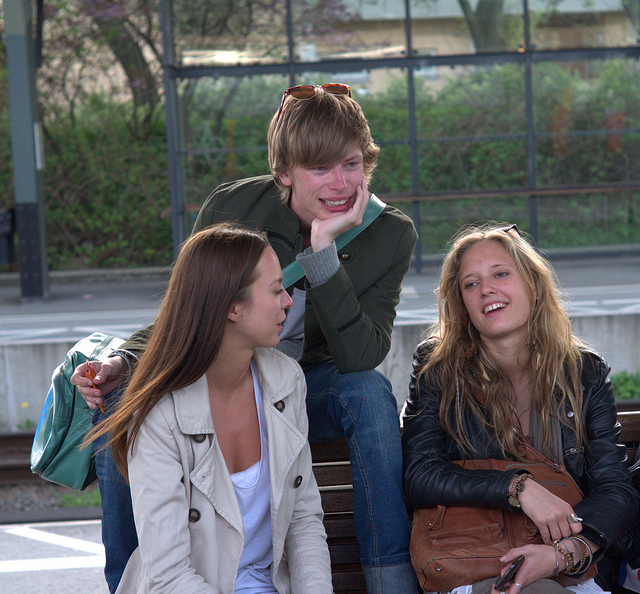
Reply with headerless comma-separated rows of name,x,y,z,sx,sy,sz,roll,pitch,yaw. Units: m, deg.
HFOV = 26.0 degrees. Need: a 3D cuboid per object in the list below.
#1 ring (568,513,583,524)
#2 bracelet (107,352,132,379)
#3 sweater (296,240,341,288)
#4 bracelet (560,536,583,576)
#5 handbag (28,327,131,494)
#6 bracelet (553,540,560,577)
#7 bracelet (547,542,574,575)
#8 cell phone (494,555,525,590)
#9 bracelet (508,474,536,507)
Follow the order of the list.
ring,1.236,1.082,6.739,0.056,0.039,0.043,4,22,-3
bracelet,-0.994,0.341,6.904,0.059,0.092,0.154,-3,1,-40
sweater,-0.012,-0.146,7.154,0.223,0.191,0.188,-33,-6,-29
bracelet,1.183,1.263,6.752,0.041,0.168,0.133,-30,-29,29
handbag,-1.315,0.421,7.153,0.460,0.645,0.902,2,-35,-19
bracelet,1.132,1.257,6.691,0.025,0.158,0.055,-1,1,21
bracelet,1.129,1.269,6.708,0.054,0.149,0.116,-44,-13,25
cell phone,0.902,1.322,6.625,0.164,0.024,0.091,-35,-19,-47
bracelet,0.974,0.937,6.761,0.109,0.146,0.038,28,1,-28
